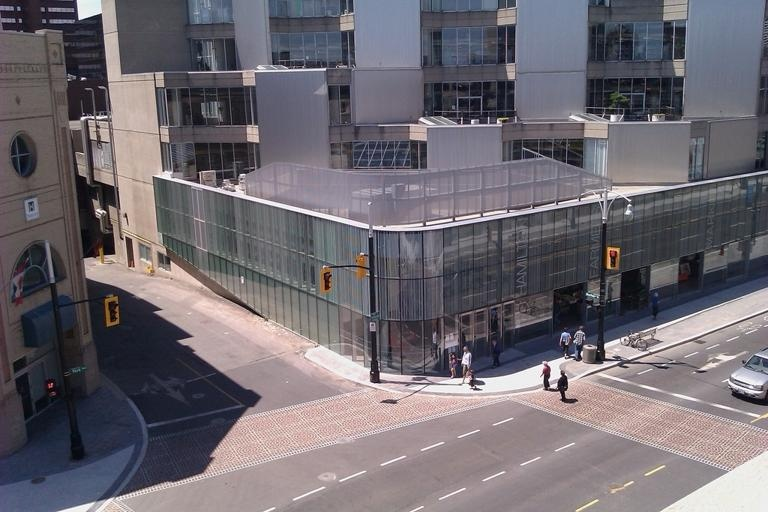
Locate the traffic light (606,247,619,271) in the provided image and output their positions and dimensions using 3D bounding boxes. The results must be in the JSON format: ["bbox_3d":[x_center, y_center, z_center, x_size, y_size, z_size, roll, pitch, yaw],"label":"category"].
[{"bbox_3d":[16.490,0.235,52.640,0.925,1.785,1.317,2,18,12],"label":"traffic light"}]

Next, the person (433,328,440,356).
[{"bbox_3d":[3.699,6.129,51.276,0.564,1.968,0.287,-8,19,-18],"label":"person"}]

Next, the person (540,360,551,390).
[{"bbox_3d":[10.967,7.964,49.349,0.579,2.016,0.920,1,18,11],"label":"person"}]

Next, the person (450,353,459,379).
[{"bbox_3d":[4.920,7.542,51.491,0.563,1.491,1.889,0,18,7],"label":"person"}]

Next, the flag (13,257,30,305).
[{"bbox_3d":[-22.543,1.648,45.280,0.541,2.397,1.620,-4,18,-5],"label":"flag"}]

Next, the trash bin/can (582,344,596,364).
[{"bbox_3d":[14.728,7.151,52.396,1.117,1.261,1.137,10,24,28],"label":"trash bin/can"}]

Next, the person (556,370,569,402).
[{"bbox_3d":[11.825,8.726,48.349,0.901,2.320,1.129,0,23,20],"label":"person"}]

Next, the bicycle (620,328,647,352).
[{"bbox_3d":[18.904,6.377,55.013,1.026,1.203,2.010,2,3,-44],"label":"bicycle"}]
